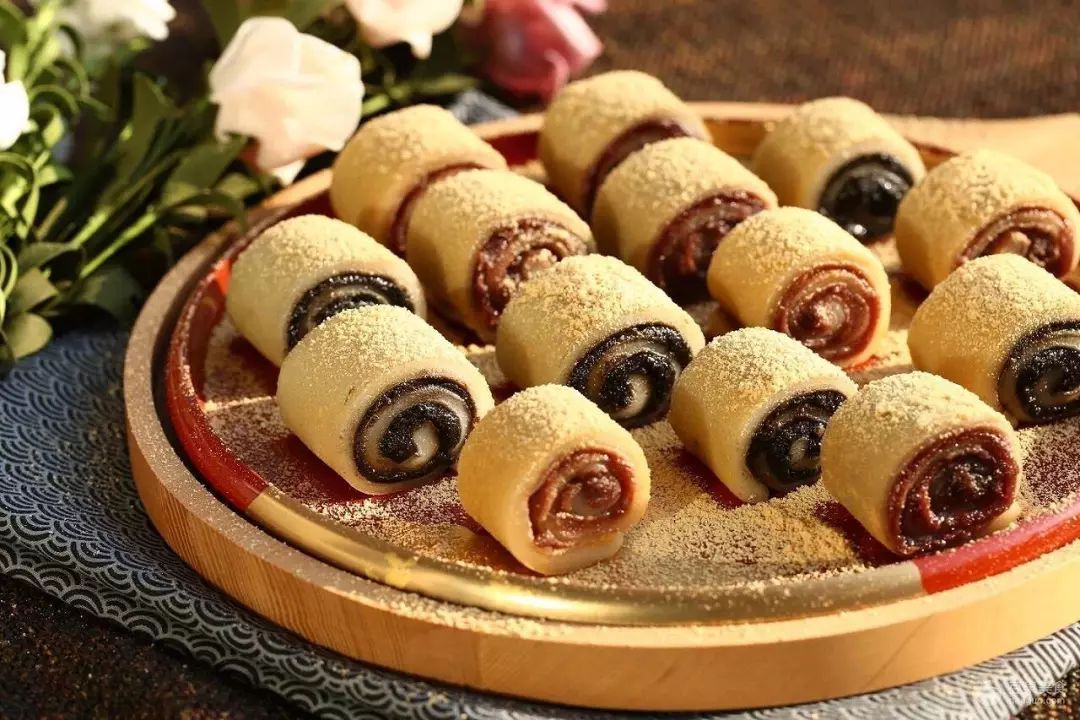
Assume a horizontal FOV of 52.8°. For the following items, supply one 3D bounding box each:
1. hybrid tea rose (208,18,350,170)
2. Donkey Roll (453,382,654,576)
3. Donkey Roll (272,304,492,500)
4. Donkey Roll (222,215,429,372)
[{"bbox_3d":[-0.458,-0.438,1.929,0.215,0.218,0.231,20,87,-22],"label":"hybrid tea rose"},{"bbox_3d":[0.027,0.150,1.596,0.258,0.267,0.230,-12,26,-31],"label":"Donkey Roll"},{"bbox_3d":[-0.251,0.036,1.722,0.269,0.273,0.272,-17,32,-29],"label":"Donkey Roll"},{"bbox_3d":[-0.383,-0.130,1.929,0.318,0.287,0.245,-5,98,-27],"label":"Donkey Roll"}]
